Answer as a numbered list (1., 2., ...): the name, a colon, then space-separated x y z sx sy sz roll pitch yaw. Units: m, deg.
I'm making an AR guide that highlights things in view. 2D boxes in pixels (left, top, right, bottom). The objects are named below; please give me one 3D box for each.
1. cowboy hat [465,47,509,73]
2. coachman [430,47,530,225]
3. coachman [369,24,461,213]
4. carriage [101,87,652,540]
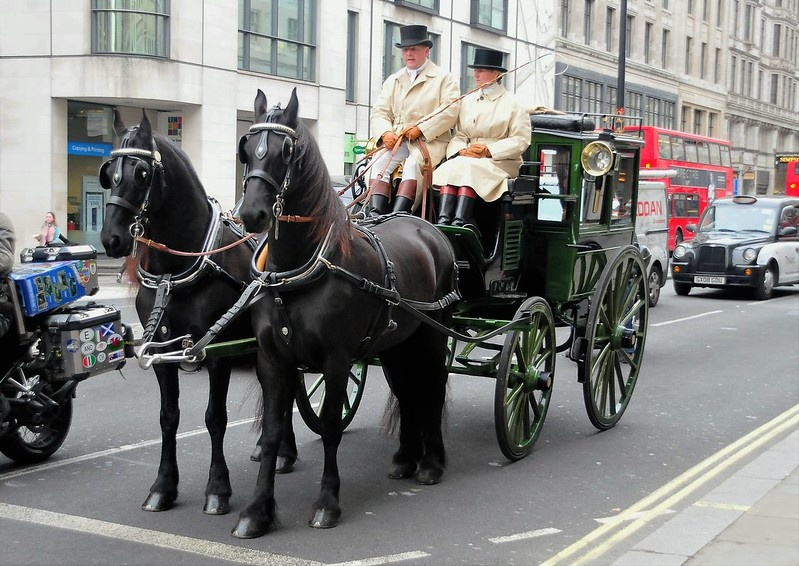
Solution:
1. cowboy hat: 0.937 -2.458 8.883 0.299 0.134 0.351 3 4 -9
2. coachman: 0.810 -1.514 8.466 0.881 1.736 1.050 9 16 37
3. coachman: 0.074 -1.612 8.578 0.911 2.079 1.086 7 16 25
4. carriage: 0.121 0.111 8.615 2.848 3.443 5.906 -2 -2 35
